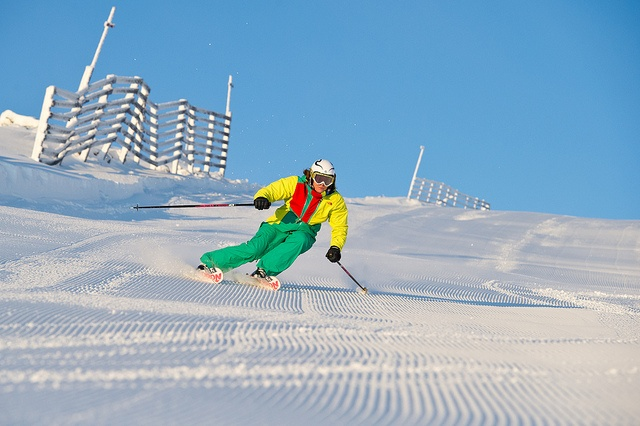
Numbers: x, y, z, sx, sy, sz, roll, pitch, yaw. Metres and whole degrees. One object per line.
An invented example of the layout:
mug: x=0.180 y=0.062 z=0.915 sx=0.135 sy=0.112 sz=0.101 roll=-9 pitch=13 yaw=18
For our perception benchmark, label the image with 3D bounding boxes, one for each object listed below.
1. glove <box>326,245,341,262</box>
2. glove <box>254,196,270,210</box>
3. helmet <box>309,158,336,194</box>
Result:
glove: x=0.163 y=0.482 z=7.869 sx=0.138 sy=0.182 sz=0.078 roll=8 pitch=-9 yaw=5
glove: x=-0.662 y=-0.118 z=7.640 sx=0.160 sy=0.085 sz=0.221 roll=-2 pitch=-1 yaw=-7
helmet: x=0.026 y=-0.409 z=7.753 sx=0.299 sy=0.388 sz=0.353 roll=5 pitch=4 yaw=-1
